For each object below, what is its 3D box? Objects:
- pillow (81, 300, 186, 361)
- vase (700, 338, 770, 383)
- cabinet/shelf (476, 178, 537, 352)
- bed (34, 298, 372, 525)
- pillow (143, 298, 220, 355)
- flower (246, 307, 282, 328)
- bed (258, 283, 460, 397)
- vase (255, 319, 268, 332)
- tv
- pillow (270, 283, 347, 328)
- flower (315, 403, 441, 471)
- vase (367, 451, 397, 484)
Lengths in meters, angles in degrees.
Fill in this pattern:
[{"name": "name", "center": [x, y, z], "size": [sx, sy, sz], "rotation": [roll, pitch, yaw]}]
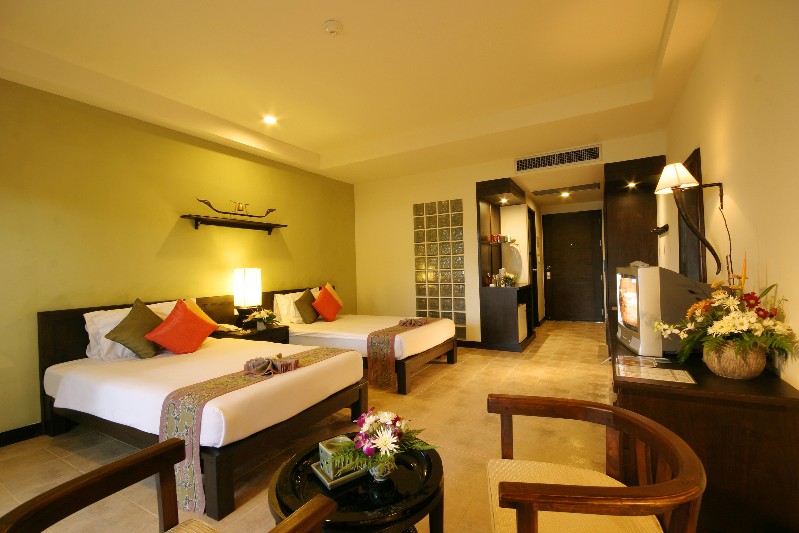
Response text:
[{"name": "pillow", "center": [-2.717, 0.612, 5.469], "size": [0.657, 0.158, 0.617], "rotation": [-18, 1, -2]}, {"name": "vase", "center": [2.424, 0.682, 3.859], "size": [0.389, 0.238, 0.386], "rotation": [6, -8, -6]}, {"name": "cabinet/shelf", "center": [1.587, -0.026, 8.047], "size": [0.750, 2.772, 2.479], "rotation": [-2, 1, 20]}, {"name": "bed", "center": [-1.987, 1.237, 4.876], "size": [2.224, 1.084, 1.820], "rotation": [1, 1, 28]}, {"name": "pillow", "center": [-2.220, 0.611, 5.313], "size": [0.513, 0.537, 0.164], "rotation": [38, -33, -9]}, {"name": "flower", "center": [-1.641, 0.614, 6.298], "size": [0.295, 0.201, 0.267], "rotation": [0, 0, -43]}, {"name": "bed", "center": [-0.399, 0.863, 6.726], "size": [1.804, 0.814, 1.514], "rotation": [0, 4, 27]}, {"name": "vase", "center": [-1.596, 0.684, 6.117], "size": [0.081, 0.117, 0.118], "rotation": [0, 0, -7]}, {"name": "tv", "center": [2.209, 0.352, 4.346], "size": [0.708, 0.679, 0.663], "rotation": [-2, -2, 13]}, {"name": "pillow", "center": [-1.209, 0.533, 7.099], "size": [0.627, 0.519, 0.197], "rotation": [-1, -31, -43]}, {"name": "flower", "center": [-0.185, 1.308, 4.055], "size": [0.675, 0.302, 0.676], "rotation": [-2, -2, 16]}, {"name": "vase", "center": [-0.127, 1.333, 3.533], "size": [0.189, 0.141, 0.206], "rotation": [0, -7, 1]}]
